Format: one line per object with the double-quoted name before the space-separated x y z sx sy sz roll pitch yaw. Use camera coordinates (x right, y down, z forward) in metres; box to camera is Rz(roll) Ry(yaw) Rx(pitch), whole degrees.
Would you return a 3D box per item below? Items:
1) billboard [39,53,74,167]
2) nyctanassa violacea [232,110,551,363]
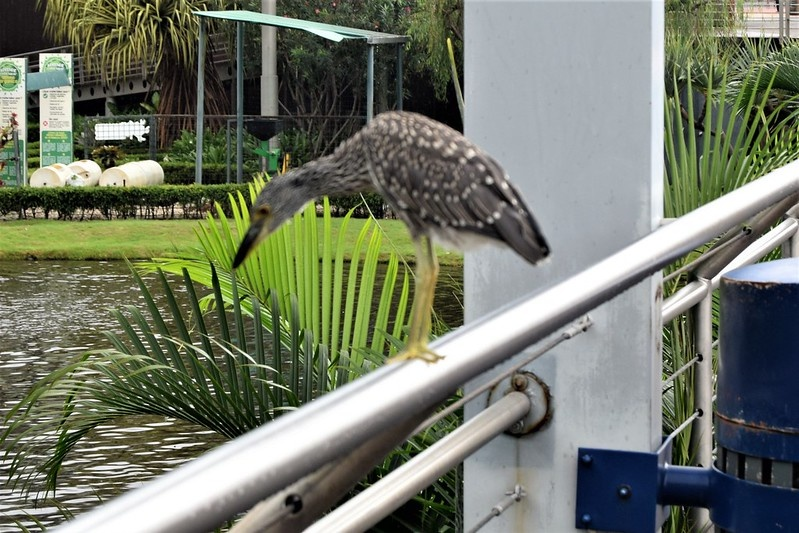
"billboard" -7.306 -3.376 22.490 0.921 2.341 0.498 1 7 26
"nyctanassa violacea" -0.022 -0.093 3.160 0.850 0.822 0.253 -2 15 6
